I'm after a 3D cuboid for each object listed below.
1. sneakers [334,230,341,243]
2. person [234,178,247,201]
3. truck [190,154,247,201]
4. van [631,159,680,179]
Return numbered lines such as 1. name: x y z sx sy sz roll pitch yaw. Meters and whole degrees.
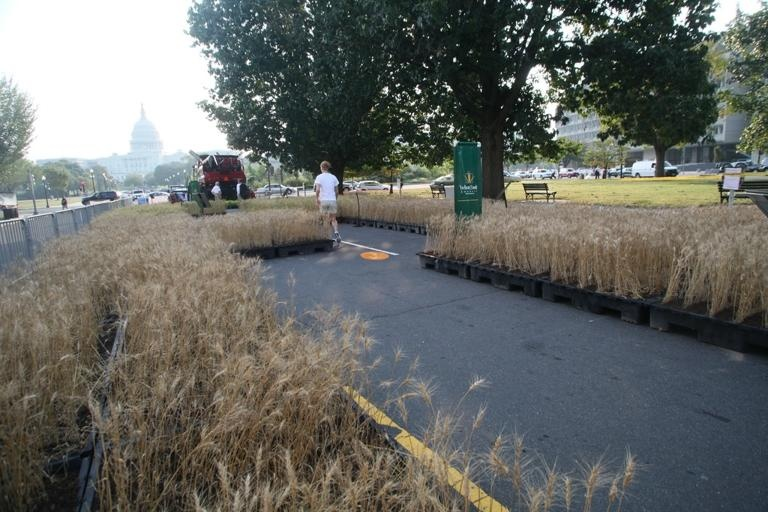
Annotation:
1. sneakers: -1.276 -0.503 14.648 0.137 0.184 0.392 0 10 0
2. person: -8.785 -4.114 33.284 0.713 1.134 2.168 -5 11 -14
3. truck: -10.915 -5.331 35.417 2.266 3.096 4.315 -5 10 -31
4. van: 26.510 -8.458 53.066 2.723 1.740 8.717 1 12 18
